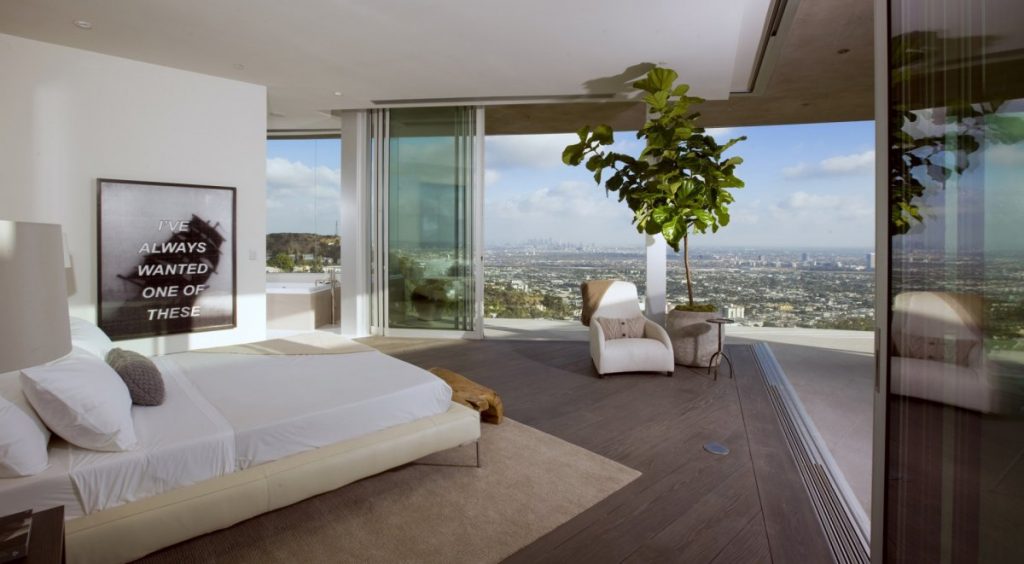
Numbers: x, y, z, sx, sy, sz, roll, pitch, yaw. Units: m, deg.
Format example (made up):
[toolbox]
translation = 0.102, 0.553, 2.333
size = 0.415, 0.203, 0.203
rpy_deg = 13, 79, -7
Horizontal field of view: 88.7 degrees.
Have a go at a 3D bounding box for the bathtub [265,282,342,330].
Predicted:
[bathtub]
translation = -3.555, 0.415, 8.759
size = 0.930, 0.364, 1.164
rpy_deg = 1, 2, 9

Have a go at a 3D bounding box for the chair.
[chair]
translation = 1.378, 0.570, 6.818
size = 1.041, 0.961, 1.286
rpy_deg = 0, -1, -9
